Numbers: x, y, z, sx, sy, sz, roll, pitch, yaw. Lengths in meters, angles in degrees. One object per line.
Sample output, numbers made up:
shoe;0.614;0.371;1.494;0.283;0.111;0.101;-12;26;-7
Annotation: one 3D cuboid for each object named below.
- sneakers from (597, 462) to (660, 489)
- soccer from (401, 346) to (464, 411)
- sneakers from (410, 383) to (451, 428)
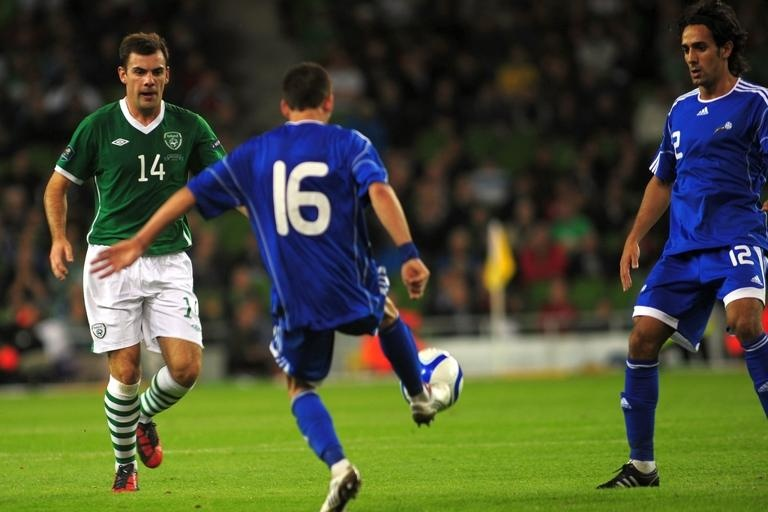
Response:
sneakers;2.186;1.916;9.457;0.637;0.262;0.209;2;-11;-1
soccer;0.452;1.062;9.650;0.449;0.572;0.540;-5;18;3
sneakers;0.424;1.258;9.539;0.267;0.179;0.404;-28;20;22
